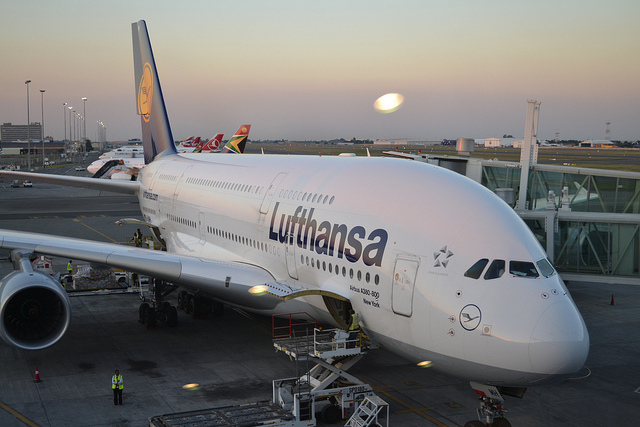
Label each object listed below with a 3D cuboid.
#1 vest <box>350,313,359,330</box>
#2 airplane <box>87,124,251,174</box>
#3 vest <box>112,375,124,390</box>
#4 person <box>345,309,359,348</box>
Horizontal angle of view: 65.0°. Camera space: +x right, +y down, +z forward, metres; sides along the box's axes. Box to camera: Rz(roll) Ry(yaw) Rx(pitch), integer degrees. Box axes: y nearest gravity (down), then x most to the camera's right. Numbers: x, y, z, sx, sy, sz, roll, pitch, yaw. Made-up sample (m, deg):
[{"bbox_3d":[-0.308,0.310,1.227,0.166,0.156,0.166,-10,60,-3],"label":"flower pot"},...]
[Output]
[{"bbox_3d":[0.999,3.173,14.911,0.286,0.447,0.116,-4,12,-29],"label":"vest"},{"bbox_3d":[-28.568,-12.551,97.634,32.208,10.390,25.426,3,9,12],"label":"airplane"},{"bbox_3d":[-6.577,5.500,16.549,0.489,0.553,0.180,-1,0,0],"label":"vest"},{"bbox_3d":[0.942,3.353,14.954,0.395,0.962,0.754,2,10,4],"label":"person"}]
